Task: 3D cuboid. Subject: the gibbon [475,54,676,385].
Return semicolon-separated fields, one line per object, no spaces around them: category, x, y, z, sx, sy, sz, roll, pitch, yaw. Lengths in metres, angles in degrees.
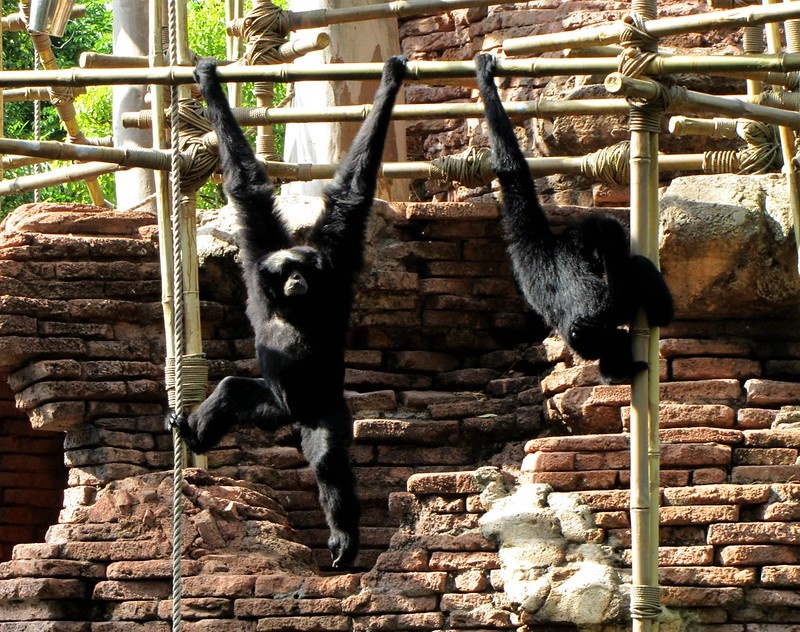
gibbon;1.357;-0.773;16.827;1.357;2.563;0.581;-3;-7;1
